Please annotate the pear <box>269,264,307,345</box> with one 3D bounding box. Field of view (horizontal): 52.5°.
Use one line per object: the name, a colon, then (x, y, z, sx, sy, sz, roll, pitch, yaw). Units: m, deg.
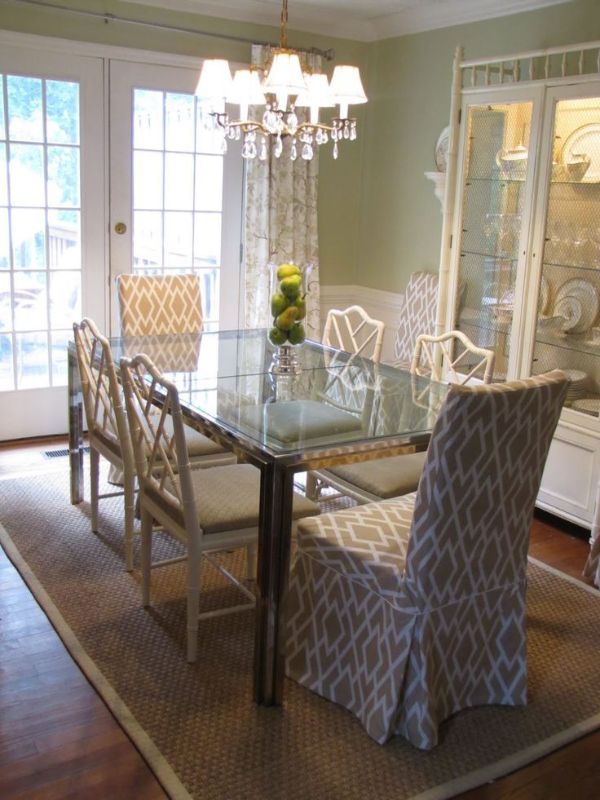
pear: (-0.038, -0.346, 2.304, 0.117, 0.342, 0.128, -6, 17, -26)
